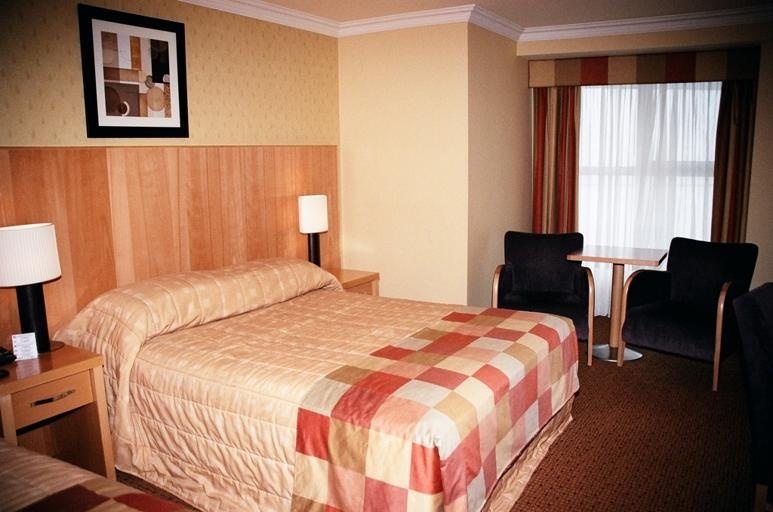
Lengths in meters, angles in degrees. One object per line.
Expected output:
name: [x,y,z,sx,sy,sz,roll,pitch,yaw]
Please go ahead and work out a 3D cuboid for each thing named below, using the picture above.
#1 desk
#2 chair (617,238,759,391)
desk: [2.438,0.511,5.595,0.849,1.027,0.873,0,5,18]
chair: [2.923,0.458,5.708,1.199,1.728,1.575,3,4,45]
